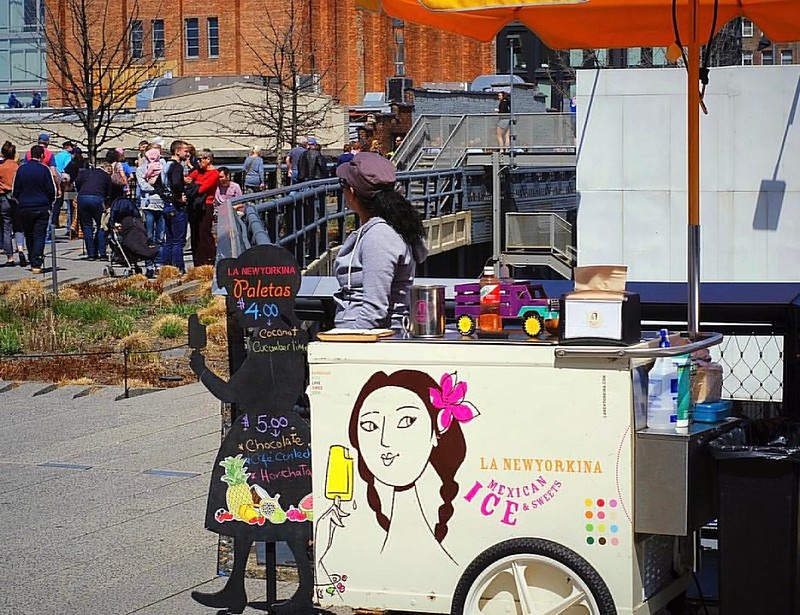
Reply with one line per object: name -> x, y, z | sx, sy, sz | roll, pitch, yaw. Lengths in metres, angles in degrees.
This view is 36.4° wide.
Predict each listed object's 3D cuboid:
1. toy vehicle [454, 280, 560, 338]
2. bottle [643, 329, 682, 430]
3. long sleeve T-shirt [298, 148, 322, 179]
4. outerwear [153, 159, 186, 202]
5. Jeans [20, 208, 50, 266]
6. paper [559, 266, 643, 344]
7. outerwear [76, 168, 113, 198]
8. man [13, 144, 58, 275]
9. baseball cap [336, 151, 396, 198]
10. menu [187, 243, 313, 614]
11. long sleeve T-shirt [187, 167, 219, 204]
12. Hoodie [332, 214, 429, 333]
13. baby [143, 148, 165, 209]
toy vehicle -> 0.594, -0.001, 6.850 | 0.464, 0.293, 0.310 | -2, 1, 19
bottle -> 1.400, 0.466, 6.450 | 0.175, 0.357, 0.216 | -5, 11, 18
long sleeve T-shirt -> -1.700, -2.774, 23.263 | 0.547, 0.733, 0.369 | 5, 10, 39
outerwear -> -3.828, -2.090, 20.298 | 0.359, 0.816, 0.736 | 0, -8, -39
Jeans -> -6.322, -1.291, 21.023 | 0.450, 1.150, 0.411 | 8, 15, 9
paper -> 1.087, 0.006, 6.575 | 0.478, 0.469, 0.526 | 3, -3, -16
outerwear -> -5.494, -2.279, 21.979 | 0.563, 0.670, 0.352 | 2, 3, 12
man -> -6.204, -1.753, 20.898 | 0.605, 2.101, 0.661 | 7, 13, 14
baseball cap -> -0.217, -0.849, 7.605 | 0.378, 0.257, 0.269 | -8, 11, 10
menu -> -0.843, 0.752, 7.236 | 0.761, 2.151, 0.528 | -9, 10, -7
long sleeve T-shirt -> -3.247, -2.023, 20.059 | 0.433, 0.675, 0.370 | 1, -13, 25
Hoodie -> -0.168, -0.204, 7.477 | 0.494, 0.845, 0.806 | 7, 3, 11
baby -> -4.116, -2.179, 20.352 | 0.402, 1.084, 0.406 | -28, 56, -37
